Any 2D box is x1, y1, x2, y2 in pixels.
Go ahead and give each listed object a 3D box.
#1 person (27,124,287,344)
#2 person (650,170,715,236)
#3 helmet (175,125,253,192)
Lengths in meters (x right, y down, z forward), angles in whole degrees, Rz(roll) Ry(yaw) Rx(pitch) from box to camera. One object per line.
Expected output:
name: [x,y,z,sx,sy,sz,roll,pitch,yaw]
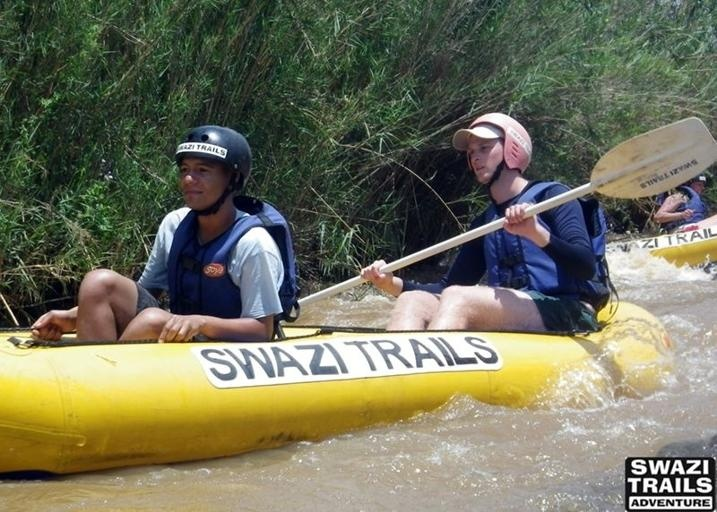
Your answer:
person: [-1.016,-0.124,5.182,1.094,1.566,1.337,8,-1,43]
person: [3.550,-0.540,9.421,0.343,0.479,0.926,12,43,45]
helmet: [-0.861,-0.557,5.033,0.324,0.341,0.390,3,1,45]
